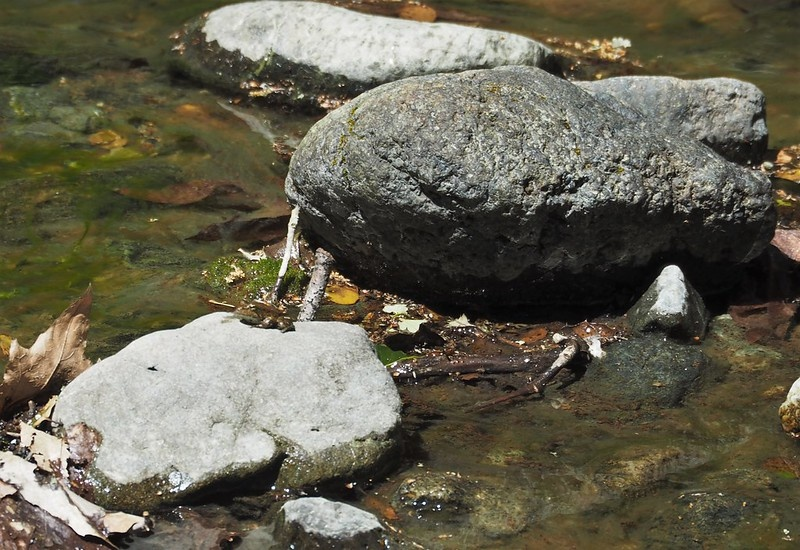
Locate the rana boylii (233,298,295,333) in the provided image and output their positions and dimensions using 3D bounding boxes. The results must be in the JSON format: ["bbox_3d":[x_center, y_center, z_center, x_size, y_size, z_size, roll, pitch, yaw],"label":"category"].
[{"bbox_3d":[-1.079,0.329,8.182,0.347,0.074,0.360,9,9,-20],"label":"rana boylii"}]
